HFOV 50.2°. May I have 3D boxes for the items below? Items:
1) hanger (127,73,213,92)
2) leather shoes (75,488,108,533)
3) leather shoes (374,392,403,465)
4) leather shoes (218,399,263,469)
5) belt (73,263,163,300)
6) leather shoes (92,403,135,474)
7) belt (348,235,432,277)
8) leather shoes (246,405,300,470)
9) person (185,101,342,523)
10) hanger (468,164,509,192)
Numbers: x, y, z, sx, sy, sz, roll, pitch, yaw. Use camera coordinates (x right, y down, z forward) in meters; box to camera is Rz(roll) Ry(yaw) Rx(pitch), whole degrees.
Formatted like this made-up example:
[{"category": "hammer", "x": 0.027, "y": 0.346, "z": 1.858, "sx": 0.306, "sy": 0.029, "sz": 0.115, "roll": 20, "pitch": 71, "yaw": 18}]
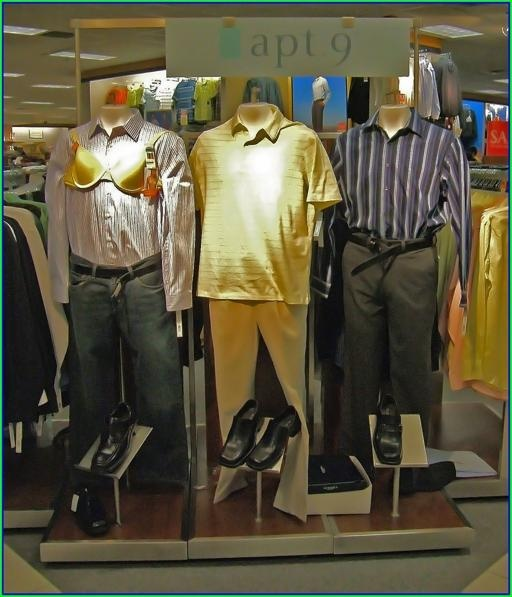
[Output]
[{"category": "hanger", "x": -0.449, "y": -0.995, "z": 2.503, "sx": 0.288, "sy": 0.089, "sz": 0.089, "roll": -2, "pitch": 12, "yaw": 0}, {"category": "leather shoes", "x": -0.673, "y": 0.853, "z": 2.198, "sx": 0.077, "sy": 0.100, "sz": 0.230, "roll": -6, "pitch": 24, "yaw": -25}, {"category": "leather shoes", "x": 0.535, "y": 0.515, "z": 2.202, "sx": 0.080, "sy": 0.080, "sz": 0.293, "roll": -1, "pitch": 46, "yaw": 10}, {"category": "leather shoes", "x": -0.054, "y": 0.541, "z": 2.141, "sx": 0.092, "sy": 0.106, "sz": 0.325, "roll": -2, "pitch": 44, "yaw": 23}, {"category": "belt", "x": -0.567, "y": -0.072, "z": 2.168, "sx": 0.356, "sy": 0.128, "sz": 0.063, "roll": -1, "pitch": 11, "yaw": 3}, {"category": "leather shoes", "x": -0.572, "y": 0.549, "z": 2.160, "sx": 0.123, "sy": 0.194, "sz": 0.219, "roll": 0, "pitch": 13, "yaw": 8}, {"category": "belt", "x": 0.554, "y": -0.183, "z": 2.253, "sx": 0.333, "sy": 0.177, "sz": 0.080, "roll": 1, "pitch": 11, "yaw": 11}, {"category": "leather shoes", "x": 0.081, "y": 0.552, "z": 2.160, "sx": 0.098, "sy": 0.135, "sz": 0.349, "roll": 5, "pitch": 38, "yaw": 27}, {"category": "person", "x": 0.033, "y": 0.078, "z": 2.193, "sx": 0.597, "sy": 1.650, "sz": 0.217, "roll": 0, "pitch": 10, "yaw": 10}, {"category": "hanger", "x": 1.566, "y": -0.805, "z": 3.649, "sx": 0.249, "sy": 0.136, "sz": 0.984, "roll": 3, "pitch": 16, "yaw": 21}]
